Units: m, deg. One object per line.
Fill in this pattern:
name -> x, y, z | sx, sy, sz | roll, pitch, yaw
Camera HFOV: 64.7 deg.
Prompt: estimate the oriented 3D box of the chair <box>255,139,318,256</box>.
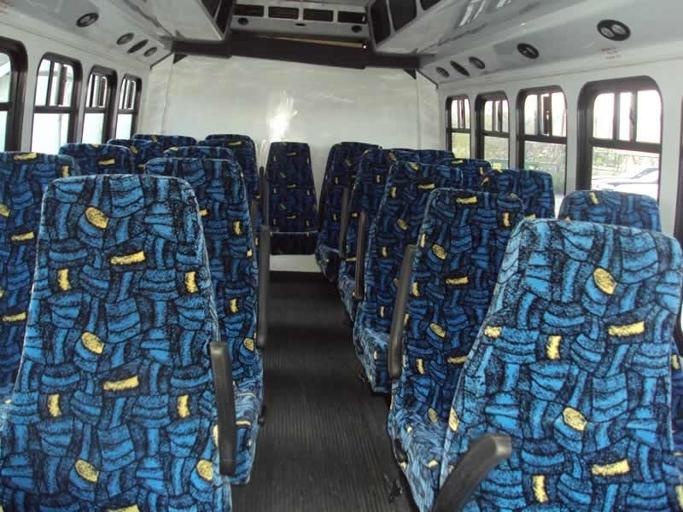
chair -> -0.590, -0.659, 6.094 | 0.678, 1.238, 0.705 | -1, 7, -9
